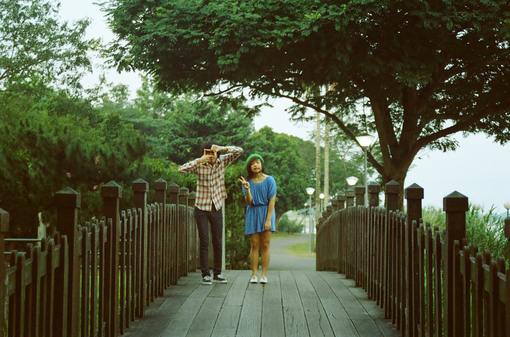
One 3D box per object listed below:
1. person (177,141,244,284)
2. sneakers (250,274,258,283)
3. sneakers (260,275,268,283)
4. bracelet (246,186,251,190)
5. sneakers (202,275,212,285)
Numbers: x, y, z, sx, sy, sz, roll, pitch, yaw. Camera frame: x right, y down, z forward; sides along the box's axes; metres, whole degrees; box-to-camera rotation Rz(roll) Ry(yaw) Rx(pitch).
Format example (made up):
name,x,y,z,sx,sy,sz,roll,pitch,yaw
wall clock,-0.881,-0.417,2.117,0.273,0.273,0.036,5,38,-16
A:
name,x,y,z,sx,sy,sz,roll,pitch,yaw
person,-0.931,0.994,13.171,1.037,3.010,0.850,-2,10,-16
sneakers,-0.010,2.315,13.198,0.174,0.193,0.249,2,11,1
sneakers,0.202,2.325,13.175,0.170,0.190,0.301,2,11,2
bracelet,-0.141,0.415,13.157,0.096,0.066,0.051,1,10,-3
sneakers,-0.990,2.314,13.093,0.233,0.224,0.296,0,11,-7
